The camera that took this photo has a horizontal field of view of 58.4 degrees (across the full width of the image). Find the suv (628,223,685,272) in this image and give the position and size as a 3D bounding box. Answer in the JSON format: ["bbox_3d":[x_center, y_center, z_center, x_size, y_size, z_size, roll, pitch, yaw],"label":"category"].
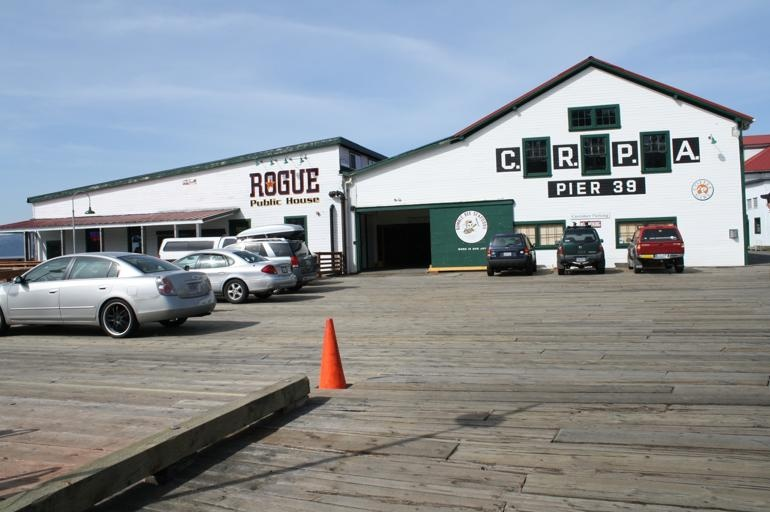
[{"bbox_3d":[10.788,-0.444,27.323,1.678,1.222,2.821,0,7,15],"label":"suv"}]

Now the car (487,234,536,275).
[{"bbox_3d":[5.064,-0.052,27.791,1.810,1.592,1.159,-3,1,5],"label":"car"}]

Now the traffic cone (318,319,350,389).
[{"bbox_3d":[-0.794,1.371,10.034,0.416,0.964,0.990,-4,1,-4],"label":"traffic cone"}]

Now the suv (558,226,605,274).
[{"bbox_3d":[7.786,-0.225,27.005,1.412,1.134,2.626,0,7,14],"label":"suv"}]
